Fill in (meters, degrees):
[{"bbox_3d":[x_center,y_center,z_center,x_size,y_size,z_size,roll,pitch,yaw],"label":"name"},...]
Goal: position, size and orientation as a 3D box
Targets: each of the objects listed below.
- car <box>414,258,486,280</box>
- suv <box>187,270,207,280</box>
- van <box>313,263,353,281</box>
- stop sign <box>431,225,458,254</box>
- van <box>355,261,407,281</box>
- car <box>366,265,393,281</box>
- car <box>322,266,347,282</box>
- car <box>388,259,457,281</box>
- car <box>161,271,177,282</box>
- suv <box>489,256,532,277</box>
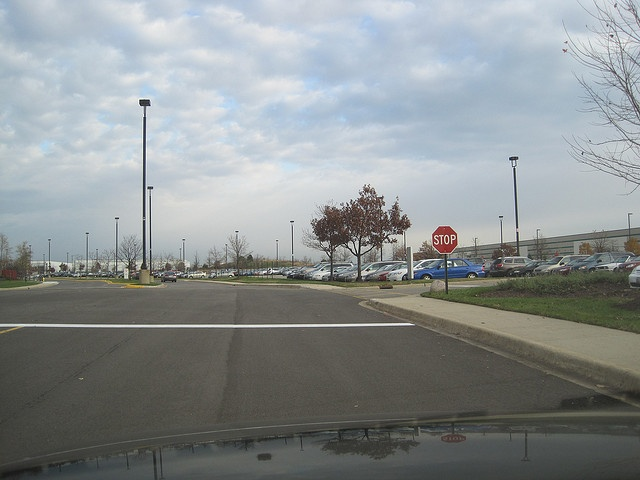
[{"bbox_3d":[7.072,1.572,33.671,4.077,1.064,2.419,-2,2,-39],"label":"car"},{"bbox_3d":[-18.844,5.444,96.116,2.349,0.995,1.358,4,-9,-8],"label":"suv"},{"bbox_3d":[0.668,2.296,45.056,2.739,0.920,1.445,3,-6,-28],"label":"van"},{"bbox_3d":[3.826,0.044,19.163,0.707,0.873,0.980,0,2,10],"label":"stop sign"},{"bbox_3d":[3.806,1.895,37.396,2.115,0.865,1.163,4,-7,-33],"label":"van"},{"bbox_3d":[3.677,1.996,37.421,1.722,0.700,0.814,3,-7,-27],"label":"car"},{"bbox_3d":[1.126,2.391,44.764,1.576,0.727,0.956,5,-8,-43],"label":"car"},{"bbox_3d":[5.199,1.629,34.524,3.003,0.967,1.330,1,-7,-15],"label":"car"},{"bbox_3d":[-14.016,3.439,57.511,1.034,0.739,2.424,1,1,-23],"label":"car"},{"bbox_3d":[11.515,1.601,37.241,2.487,0.863,1.104,-4,1,-13],"label":"suv"}]
